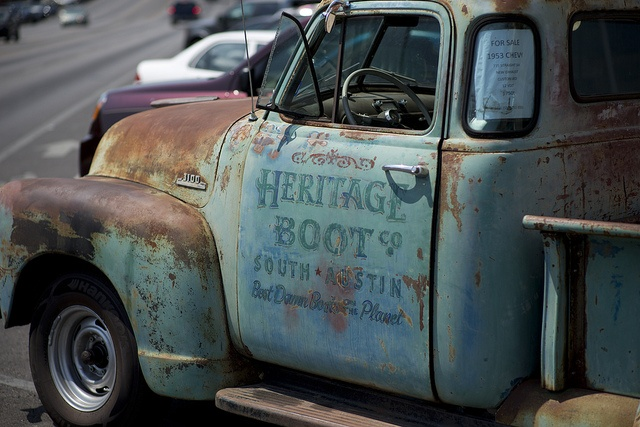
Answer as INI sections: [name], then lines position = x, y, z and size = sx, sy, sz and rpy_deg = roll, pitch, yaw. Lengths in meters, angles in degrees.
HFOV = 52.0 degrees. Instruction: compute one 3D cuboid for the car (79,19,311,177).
[car]
position = -1.358, -1.425, 8.132
size = 2.950, 1.498, 1.565
rpy_deg = -9, 11, -2
